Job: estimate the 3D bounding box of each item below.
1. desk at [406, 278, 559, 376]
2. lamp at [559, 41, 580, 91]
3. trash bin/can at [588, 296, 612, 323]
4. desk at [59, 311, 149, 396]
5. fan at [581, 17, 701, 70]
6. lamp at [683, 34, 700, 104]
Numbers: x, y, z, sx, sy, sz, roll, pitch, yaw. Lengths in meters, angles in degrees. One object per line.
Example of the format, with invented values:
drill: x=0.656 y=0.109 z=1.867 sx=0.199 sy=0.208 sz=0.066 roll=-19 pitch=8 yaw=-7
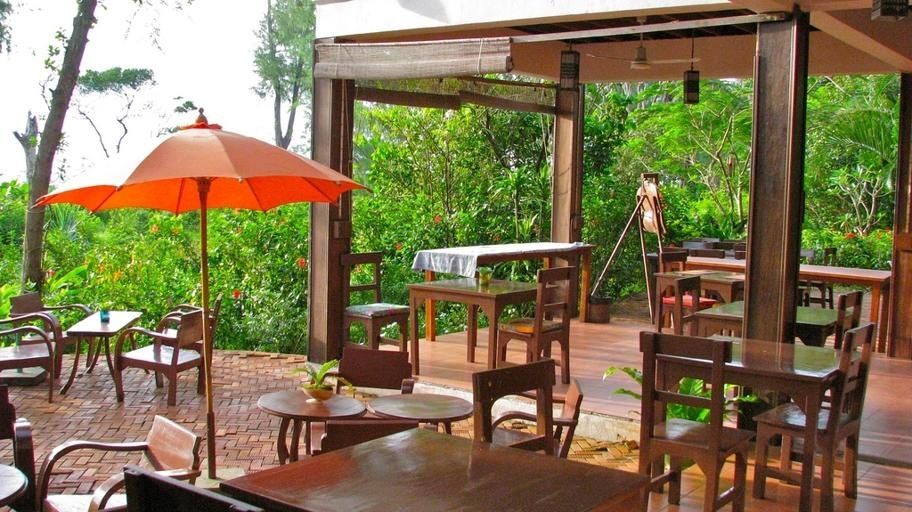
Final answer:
desk: x=0.348 y=1.050 z=9.900 sx=1.498 sy=1.151 sz=1.501 roll=2 pitch=2 yaw=34
lamp: x=1.543 y=-2.552 z=9.522 sx=0.234 sy=0.567 sz=0.413 roll=2 pitch=3 yaw=4
trash bin/can: x=2.606 y=0.955 z=12.552 sx=0.468 sy=0.450 sz=0.449 roll=1 pitch=0 yaw=-35
desk: x=-4.942 y=1.098 z=9.745 sx=0.958 sy=0.936 sz=1.928 roll=2 pitch=7 yaw=-9
fan: x=2.579 y=-2.923 z=9.719 sx=0.920 sy=0.443 sz=1.016 roll=15 pitch=41 yaw=8
lamp: x=3.656 y=-2.921 z=10.864 sx=0.242 sy=0.988 sz=0.225 roll=-5 pitch=18 yaw=0
